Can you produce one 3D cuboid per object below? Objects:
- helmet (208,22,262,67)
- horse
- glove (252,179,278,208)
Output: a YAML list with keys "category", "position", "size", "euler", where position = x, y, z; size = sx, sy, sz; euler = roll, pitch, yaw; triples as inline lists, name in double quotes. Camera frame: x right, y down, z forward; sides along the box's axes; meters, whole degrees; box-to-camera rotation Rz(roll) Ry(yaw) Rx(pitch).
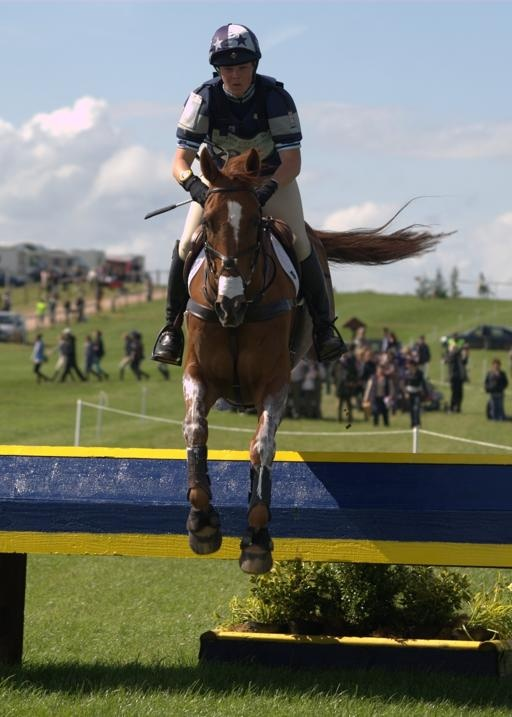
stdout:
- category: "helmet"
  position: [-0.122, -1.758, 6.163]
  size: [0.274, 0.253, 0.209]
  euler: [-1, 1, -1]
- category: "horse"
  position: [0.324, -0.248, 7.026]
  size: [0.929, 2.259, 4.077]
  euler: [7, 13, 18]
- category: "glove"
  position: [0.054, -0.839, 5.551]
  size: [0.051, 0.145, 0.107]
  euler: [23, -24, 33]
